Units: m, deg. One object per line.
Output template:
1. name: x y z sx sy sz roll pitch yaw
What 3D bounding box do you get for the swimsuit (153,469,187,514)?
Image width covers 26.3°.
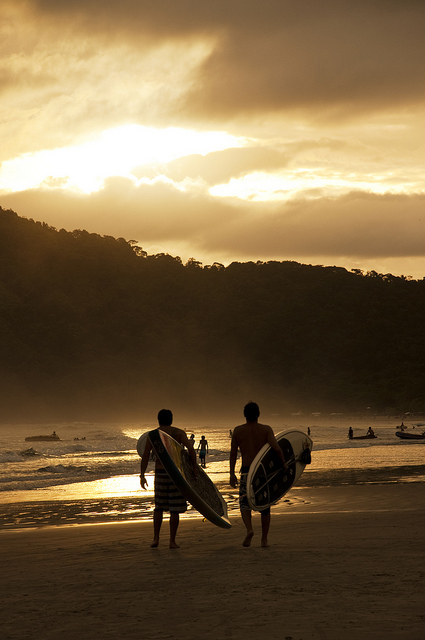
1. swimsuit: -0.488 1.850 9.860 0.395 0.516 0.266 2 1 20

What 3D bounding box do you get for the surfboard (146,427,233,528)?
1. surfboard: -0.201 1.746 10.171 0.677 1.197 1.534 2 1 17

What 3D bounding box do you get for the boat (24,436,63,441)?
1. boat: -20.092 13.761 106.619 2.694 0.581 1.388 1 -3 -1

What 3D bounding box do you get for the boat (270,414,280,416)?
1. boat: 15.067 22.703 220.240 1.988 0.087 2.602 1 1 -5
